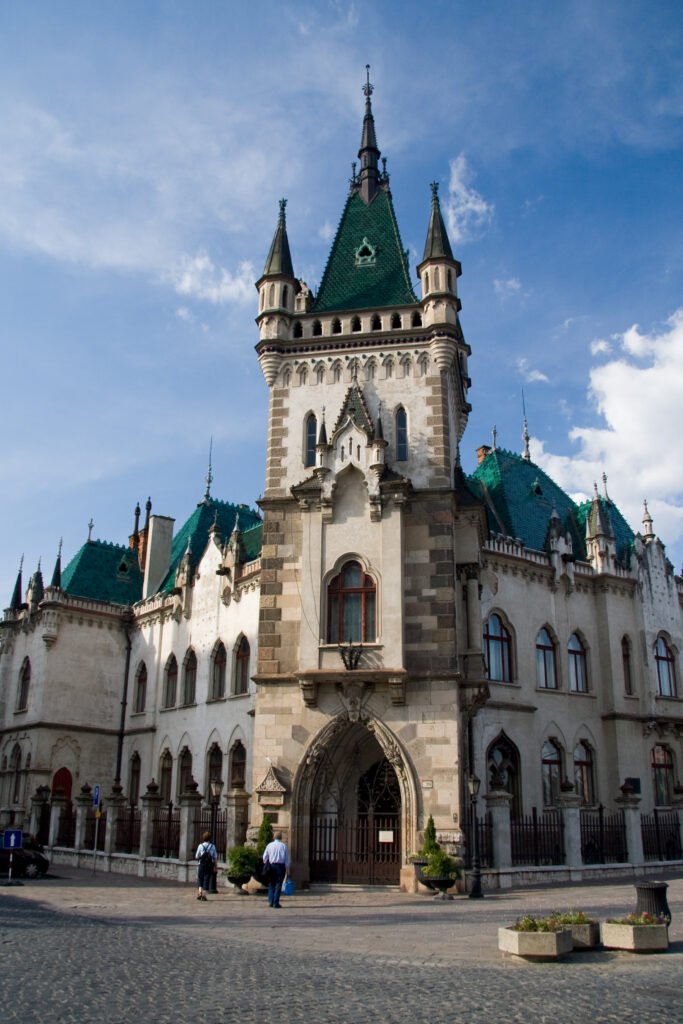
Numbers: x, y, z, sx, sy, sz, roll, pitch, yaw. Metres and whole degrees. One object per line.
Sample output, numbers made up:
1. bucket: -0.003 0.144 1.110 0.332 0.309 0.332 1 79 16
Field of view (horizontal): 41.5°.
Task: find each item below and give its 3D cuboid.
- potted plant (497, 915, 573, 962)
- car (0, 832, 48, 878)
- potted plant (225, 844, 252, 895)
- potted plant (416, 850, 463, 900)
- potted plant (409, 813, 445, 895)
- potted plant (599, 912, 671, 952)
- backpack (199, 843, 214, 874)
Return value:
1. potted plant: 2.277 4.999 10.547 0.817 0.415 0.737 -1 -18 3
2. car: -8.961 9.763 25.413 1.266 0.998 2.763 6 -20 -19
3. potted plant: -2.278 8.090 20.310 0.503 0.988 0.541 3 -18 -8
4. potted plant: 2.080 7.968 19.996 0.884 1.056 0.918 5 -7 -14
5. potted plant: 2.055 7.829 20.305 0.914 1.643 1.018 -2 -10 16
6. potted plant: 3.556 5.145 10.841 0.440 0.344 0.695 0 -16 -1
7. backpack: -2.838 7.317 19.027 0.270 0.609 0.430 -1 -18 5
